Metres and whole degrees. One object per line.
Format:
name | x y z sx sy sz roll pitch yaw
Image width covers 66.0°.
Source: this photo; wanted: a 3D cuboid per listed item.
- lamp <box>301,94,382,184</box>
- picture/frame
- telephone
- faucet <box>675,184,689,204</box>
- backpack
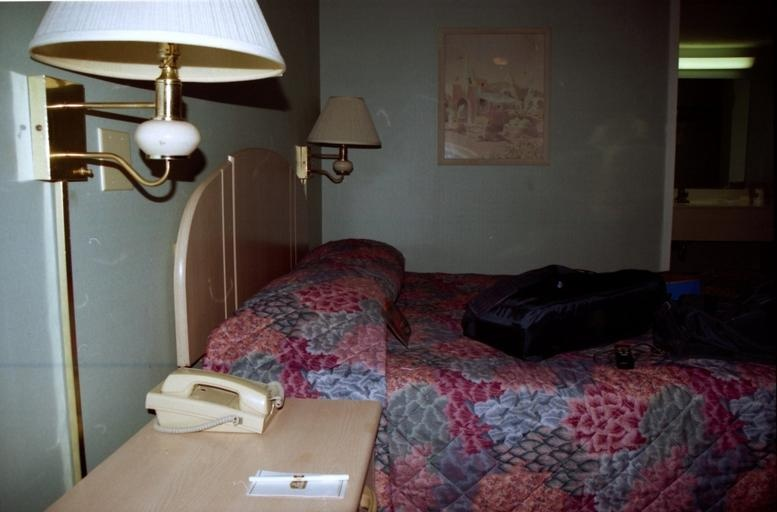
lamp | -0.248 -0.703 3.732 0.620 0.559 0.515 0 8 4
picture/frame | 0.730 -1.144 4.139 1.011 1.119 0.077 0 10 2
telephone | -0.497 0.414 1.691 0.279 0.110 0.192 3 -2 -1
faucet | 2.081 -0.432 4.236 0.111 0.194 0.108 1 7 23
backpack | 0.706 0.203 2.340 0.646 0.205 0.367 -10 7 -13
